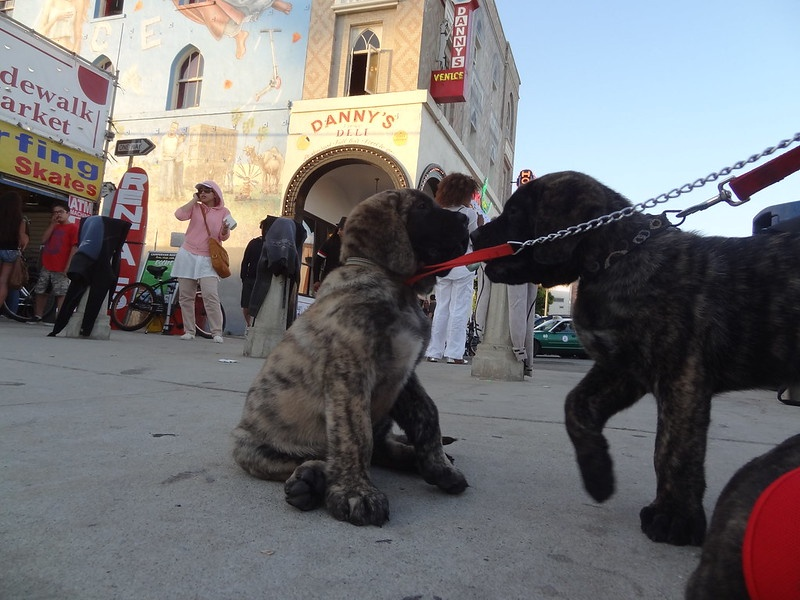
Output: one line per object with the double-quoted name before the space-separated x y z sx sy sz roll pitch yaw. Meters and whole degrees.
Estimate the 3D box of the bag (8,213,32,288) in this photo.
"bag" -6.773 -0.885 7.967 0.299 1.331 0.301 4 2 -27

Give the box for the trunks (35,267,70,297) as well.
"trunks" -6.404 -0.328 8.258 0.489 0.517 0.288 4 4 -6

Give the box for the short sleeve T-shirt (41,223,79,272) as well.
"short sleeve T-shirt" -6.079 -0.930 8.009 0.711 0.956 0.338 16 9 7

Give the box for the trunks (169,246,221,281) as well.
"trunks" -3.416 -0.543 7.482 0.733 0.747 0.454 2 -3 -3

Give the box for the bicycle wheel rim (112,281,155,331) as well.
"bicycle wheel rim" -5.515 0.157 9.258 0.739 0.810 0.108 -21 -7 5
